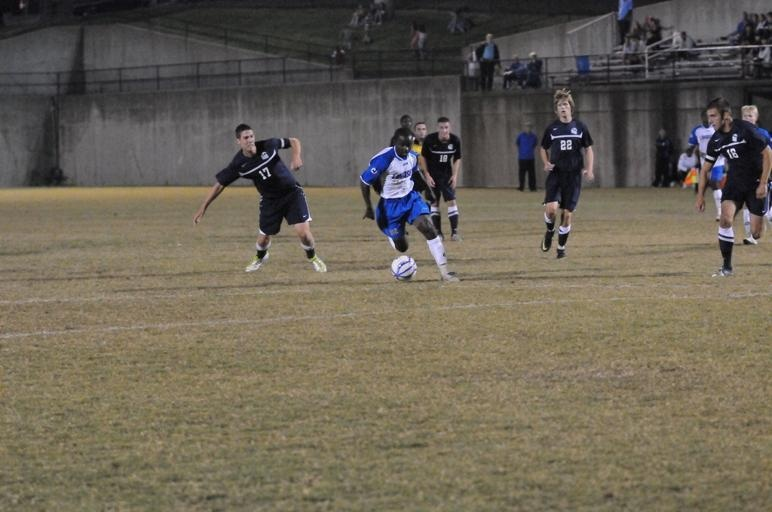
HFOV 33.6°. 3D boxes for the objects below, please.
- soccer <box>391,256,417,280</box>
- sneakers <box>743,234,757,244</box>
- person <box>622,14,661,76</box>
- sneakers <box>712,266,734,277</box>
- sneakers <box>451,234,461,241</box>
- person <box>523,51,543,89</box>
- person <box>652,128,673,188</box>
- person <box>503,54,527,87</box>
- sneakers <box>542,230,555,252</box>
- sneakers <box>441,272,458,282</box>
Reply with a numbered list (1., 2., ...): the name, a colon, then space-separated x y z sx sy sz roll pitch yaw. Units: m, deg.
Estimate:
1. soccer: 0.348 0.249 24.451 0.446 0.464 0.451 -4 9 -1
2. sneakers: 7.668 -0.332 26.896 0.160 0.187 0.412 -4 -5 0
3. person: 8.817 -7.462 44.115 1.233 1.609 0.895 2 9 13
4. sneakers: 6.460 0.348 24.439 0.449 0.205 0.160 0 -1 4
5. sneakers: 1.606 -0.414 29.109 0.098 0.128 0.294 4 9 17
6. person: 5.306 -6.707 46.051 0.601 1.266 1.636 1 9 6
7. person: 9.560 -3.336 43.931 0.668 2.017 1.216 2 9 12
8. person: 4.619 -6.745 46.394 0.906 1.352 1.006 0 4 37
9. sneakers: 3.332 -0.300 26.600 0.174 0.545 0.226 11 -18 18
10. sneakers: 1.229 0.417 24.501 0.344 0.163 0.141 1 6 20
